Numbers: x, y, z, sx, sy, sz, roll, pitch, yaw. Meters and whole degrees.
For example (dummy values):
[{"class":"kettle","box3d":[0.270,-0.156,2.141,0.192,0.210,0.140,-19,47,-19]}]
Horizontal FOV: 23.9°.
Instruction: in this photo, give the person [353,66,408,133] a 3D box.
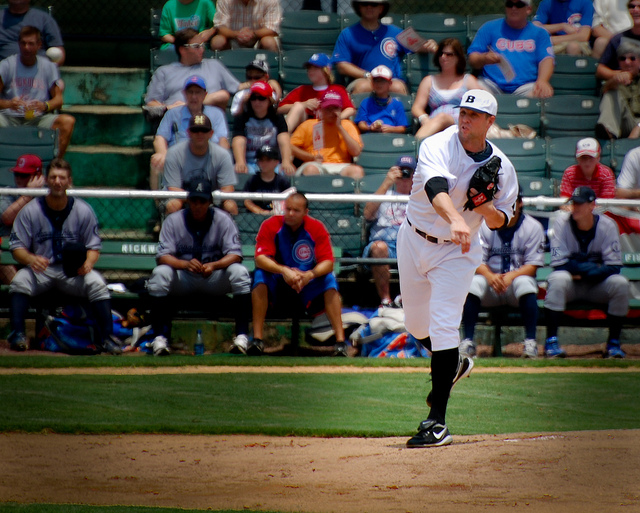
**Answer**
[{"class":"person","box3d":[0.717,-1.653,17.307,0.621,1.065,0.557,0,9,-15]}]

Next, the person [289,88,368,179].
[{"class":"person","box3d":[0.071,-1.183,16.815,0.805,1.399,0.781,3,-2,0]}]

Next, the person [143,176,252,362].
[{"class":"person","box3d":[-1.185,0.061,15.187,1.026,1.577,0.578,1,13,-7]}]

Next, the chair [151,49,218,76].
[{"class":"chair","box3d":[-1.636,-2.321,18.004,0.727,0.272,0.289,1,13,-8]}]

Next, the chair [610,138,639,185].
[{"class":"chair","box3d":[3.384,-1.089,16.862,0.310,0.422,0.294,4,13,4]}]

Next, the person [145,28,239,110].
[{"class":"person","box3d":[-1.440,-2.134,17.357,1.095,0.963,0.741,-6,17,-19]}]

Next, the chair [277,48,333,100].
[{"class":"chair","box3d":[-0.126,-2.224,18.151,0.553,0.760,0.624,1,-6,-5]}]

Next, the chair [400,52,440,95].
[{"class":"chair","box3d":[1.187,-2.202,18.283,0.457,0.663,0.475,-1,2,-11]}]

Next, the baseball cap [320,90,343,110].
[{"class":"baseball cap","box3d":[0.126,-1.729,16.799,0.214,0.192,0.218,2,13,-3]}]

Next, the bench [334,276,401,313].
[{"class":"bench","box3d":[0.429,0.418,15.896,0.562,0.406,0.138,2,11,17]}]

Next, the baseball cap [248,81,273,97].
[{"class":"baseball cap","box3d":[-0.631,-1.846,16.745,0.215,0.168,0.363,-6,-5,6]}]

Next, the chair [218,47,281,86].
[{"class":"chair","box3d":[-0.832,-2.342,18.039,0.577,0.493,0.467,-1,15,-3]}]

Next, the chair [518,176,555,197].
[{"class":"chair","box3d":[2.372,-0.759,16.564,0.392,0.169,0.286,5,13,7]}]

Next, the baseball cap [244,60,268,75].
[{"class":"baseball cap","box3d":[-0.705,-2.154,17.197,0.237,0.157,0.337,2,13,-5]}]

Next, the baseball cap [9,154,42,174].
[{"class":"baseball cap","box3d":[-3.080,-0.955,15.905,0.269,0.161,0.197,4,2,-22]}]

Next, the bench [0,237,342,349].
[{"class":"bench","box3d":[-1.535,0.386,15.660,3.438,1.044,0.711,4,13,2]}]

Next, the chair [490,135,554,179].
[{"class":"chair","box3d":[2.268,-1.117,17.169,0.503,0.717,0.509,-1,24,0]}]

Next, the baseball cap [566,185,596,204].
[{"class":"baseball cap","box3d":[2.650,-0.615,15.266,0.230,0.139,0.154,2,7,-8]}]

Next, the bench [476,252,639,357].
[{"class":"bench","box3d":[2.501,0.512,15.679,1.707,1.100,0.884,3,13,2]}]

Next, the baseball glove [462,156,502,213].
[{"class":"baseball glove","box3d":[1.353,-0.597,12.596,0.255,0.428,0.151,41,8,-11]}]

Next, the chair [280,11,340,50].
[{"class":"chair","box3d":[-0.116,-2.824,19.170,0.840,0.489,0.587,1,3,-2]}]

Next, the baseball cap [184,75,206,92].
[{"class":"baseball cap","box3d":[-1.342,-1.881,16.499,0.190,0.147,0.317,1,9,-2]}]

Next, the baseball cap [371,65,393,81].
[{"class":"baseball cap","box3d":[0.702,-2.086,17.227,0.217,0.147,0.291,3,13,1]}]

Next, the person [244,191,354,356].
[{"class":"person","box3d":[-0.200,0.160,15.101,1.137,1.689,1.210,-2,-5,31]}]

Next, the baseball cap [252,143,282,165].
[{"class":"baseball cap","box3d":[-0.522,-1.111,16.038,0.192,0.144,0.276,-2,-27,15]}]

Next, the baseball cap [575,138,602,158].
[{"class":"baseball cap","box3d":[2.853,-1.143,16.094,0.245,0.219,0.292,4,13,3]}]

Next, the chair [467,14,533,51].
[{"class":"chair","box3d":[2.223,-2.710,18.630,0.888,0.651,0.454,0,2,7]}]

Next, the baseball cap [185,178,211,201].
[{"class":"baseball cap","box3d":[-1.213,-0.665,15.242,0.237,0.193,0.178,2,13,-6]}]

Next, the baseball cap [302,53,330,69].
[{"class":"baseball cap","box3d":[-0.026,-2.234,17.330,0.247,0.147,0.172,-7,4,-29]}]

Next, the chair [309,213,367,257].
[{"class":"chair","box3d":[0.235,-0.249,15.847,0.395,0.462,0.528,1,-13,3]}]

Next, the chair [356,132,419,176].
[{"class":"chair","box3d":[0.765,-0.990,17.042,0.743,0.549,0.442,0,2,0]}]

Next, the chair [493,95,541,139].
[{"class":"chair","box3d":[2.289,-1.618,17.777,0.576,0.773,0.602,2,7,2]}]

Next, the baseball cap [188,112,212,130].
[{"class":"baseball cap","box3d":[-1.256,-1.389,15.871,0.167,0.153,0.258,4,-21,0]}]

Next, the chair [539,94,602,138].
[{"class":"chair","box3d":[2.902,-1.620,17.670,0.516,0.702,0.552,1,10,1]}]

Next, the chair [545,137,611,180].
[{"class":"chair","box3d":[2.954,-1.123,17.237,0.586,0.823,0.514,0,-5,4]}]

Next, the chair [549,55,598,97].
[{"class":"chair","box3d":[3.031,-2.168,18.129,0.761,0.568,0.430,1,-3,1]}]

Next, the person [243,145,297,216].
[{"class":"person","box3d":[-0.528,-0.804,15.985,0.545,0.773,0.639,-1,5,-4]}]

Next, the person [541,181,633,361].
[{"class":"person","box3d":[2.741,0.173,15.388,0.916,1.746,1.130,4,13,8]}]
